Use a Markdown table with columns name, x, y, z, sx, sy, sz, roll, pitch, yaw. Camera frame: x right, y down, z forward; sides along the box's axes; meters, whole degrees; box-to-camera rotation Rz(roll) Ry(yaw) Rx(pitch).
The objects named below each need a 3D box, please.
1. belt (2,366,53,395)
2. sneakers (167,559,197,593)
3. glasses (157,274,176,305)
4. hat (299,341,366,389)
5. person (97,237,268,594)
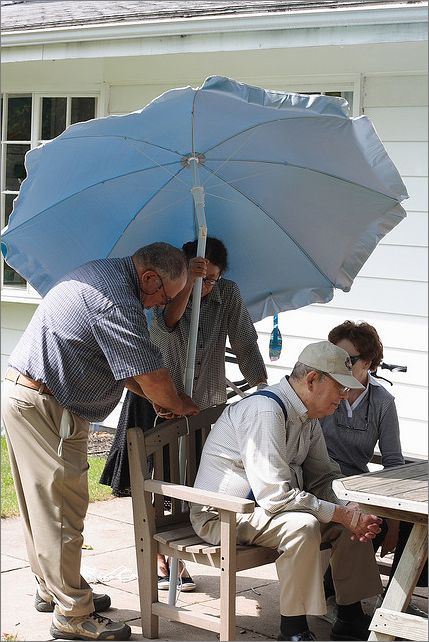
| name | x | y | z | sx | sy | sz | roll | pitch | yaw |
| --- | --- | --- | --- | --- | --- | --- | --- | --- | --- |
| belt | -0.657 | 0.206 | 2.317 | 0.125 | 0.031 | 0.110 | 26 | -12 | -7 |
| sneakers | -0.146 | 1.191 | 3.053 | 0.080 | 0.072 | 0.210 | 6 | -7 | -12 |
| glasses | -0.172 | -0.113 | 2.404 | 0.038 | 0.089 | 0.090 | -2 | 2 | -23 |
| hat | 0.426 | 0.148 | 2.382 | 0.235 | 0.114 | 0.143 | 20 | 5 | 5 |
| person | -0.167 | 0.306 | 2.986 | 0.661 | 1.353 | 0.599 | 3 | -2 | -8 |
